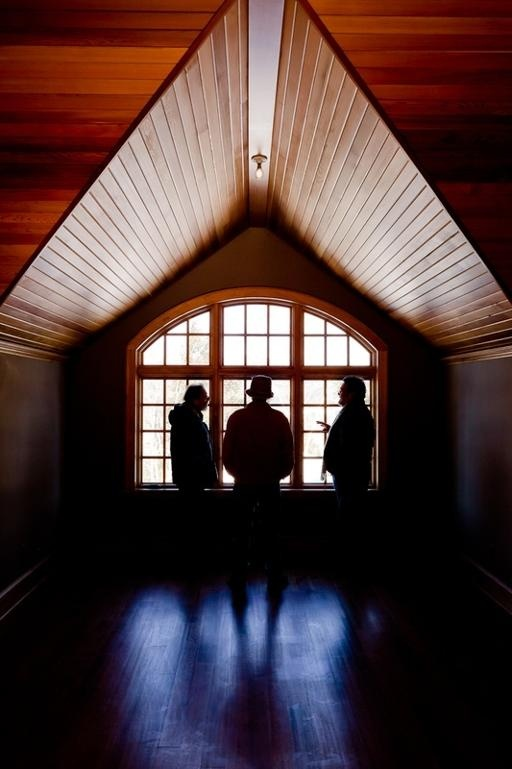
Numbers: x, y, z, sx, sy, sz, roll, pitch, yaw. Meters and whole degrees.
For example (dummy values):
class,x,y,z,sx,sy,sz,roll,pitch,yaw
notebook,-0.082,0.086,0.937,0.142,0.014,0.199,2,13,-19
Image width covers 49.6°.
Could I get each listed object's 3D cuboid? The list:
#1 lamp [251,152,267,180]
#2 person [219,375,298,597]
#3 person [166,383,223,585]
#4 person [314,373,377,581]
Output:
class,x,y,z,sx,sy,sz,roll,pitch,yaw
lamp,0.023,-1.469,3.678,0.073,0.112,0.085,-1,-10,3
person,0.005,0.691,3.836,0.476,1.488,0.278,1,-2,0
person,-0.512,0.734,4.386,0.374,1.457,0.461,1,-2,-10
person,0.700,0.692,4.220,0.374,1.490,0.312,1,-2,8
